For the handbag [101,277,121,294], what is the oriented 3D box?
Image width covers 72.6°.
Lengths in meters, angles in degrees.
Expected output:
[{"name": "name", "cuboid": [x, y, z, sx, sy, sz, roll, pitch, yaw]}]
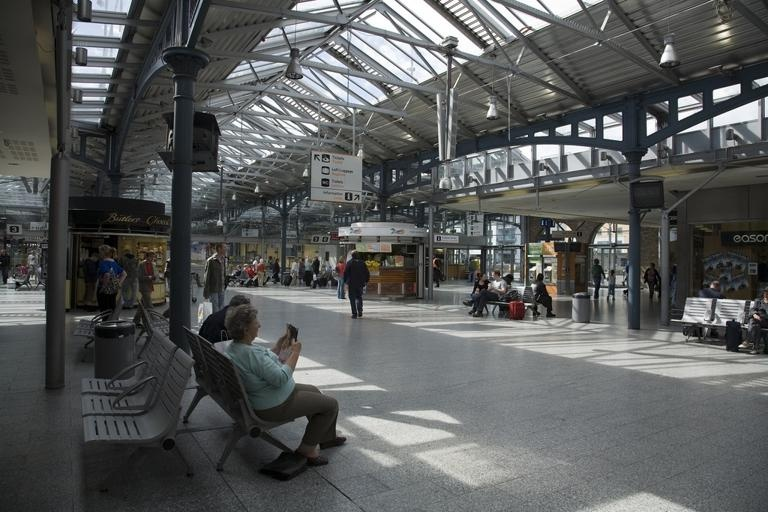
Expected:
[{"name": "handbag", "cuboid": [-6.770, 0.731, 12.901, 0.449, 0.419, 0.382, -2, -8, 36]}]

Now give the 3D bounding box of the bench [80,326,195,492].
[{"name": "bench", "cuboid": [-2.771, 1.470, 5.774, 0.988, 1.024, 1.445, -1, 2, -30]}]

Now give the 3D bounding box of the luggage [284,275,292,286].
[{"name": "luggage", "cuboid": [-6.323, 1.561, 34.671, 0.546, 0.764, 0.605, 0, 2, -11]}]

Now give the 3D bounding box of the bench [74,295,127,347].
[{"name": "bench", "cuboid": [-5.944, 1.341, 10.903, 1.286, 1.175, 0.958, 6, -7, -23]}]

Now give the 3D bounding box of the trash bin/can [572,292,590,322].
[{"name": "trash bin/can", "cuboid": [6.456, 1.669, 16.792, 0.503, 0.904, 0.608, 1, 2, 16]}]

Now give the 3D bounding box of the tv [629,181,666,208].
[{"name": "tv", "cuboid": [7.895, -1.716, 15.534, 0.985, 0.912, 0.806, 3, 6, 35]}]

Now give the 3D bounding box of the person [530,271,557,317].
[{"name": "person", "cuboid": [5.540, 1.339, 18.247, 0.878, 1.386, 0.823, -2, 5, -28]}]

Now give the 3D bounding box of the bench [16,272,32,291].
[{"name": "bench", "cuboid": [-18.462, 1.195, 26.543, 0.683, 0.796, 2.047, -1, 2, -36]}]

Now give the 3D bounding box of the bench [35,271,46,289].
[{"name": "bench", "cuboid": [-17.929, 1.253, 27.045, 0.626, 0.803, 0.250, -2, 9, -18]}]

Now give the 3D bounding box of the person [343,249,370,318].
[{"name": "person", "cuboid": [-0.898, 0.915, 17.076, 0.911, 2.223, 0.652, 3, -10, -23]}]

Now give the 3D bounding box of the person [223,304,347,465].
[{"name": "person", "cuboid": [-1.148, 1.460, 5.980, 1.258, 1.826, 0.518, 0, 2, -18]}]

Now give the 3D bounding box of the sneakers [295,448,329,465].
[{"name": "sneakers", "cuboid": [-0.801, 2.290, 5.907, 0.462, 0.165, 0.157, 4, 0, -22]}]

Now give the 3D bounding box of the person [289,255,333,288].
[{"name": "person", "cuboid": [-4.836, 1.085, 35.364, 1.935, 1.217, 1.050, -10, -23, 30]}]

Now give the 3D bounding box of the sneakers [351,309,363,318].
[{"name": "sneakers", "cuboid": [-0.813, 1.950, 17.148, 0.414, 0.264, 0.132, 10, -17, -27]}]

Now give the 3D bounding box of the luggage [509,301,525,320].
[{"name": "luggage", "cuboid": [4.526, 1.806, 17.419, 0.496, 0.565, 0.637, 1, 2, 7]}]

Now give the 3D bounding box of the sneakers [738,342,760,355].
[{"name": "sneakers", "cuboid": [8.594, 2.149, 12.166, 0.683, 0.265, 0.218, 2, -1, -34]}]
